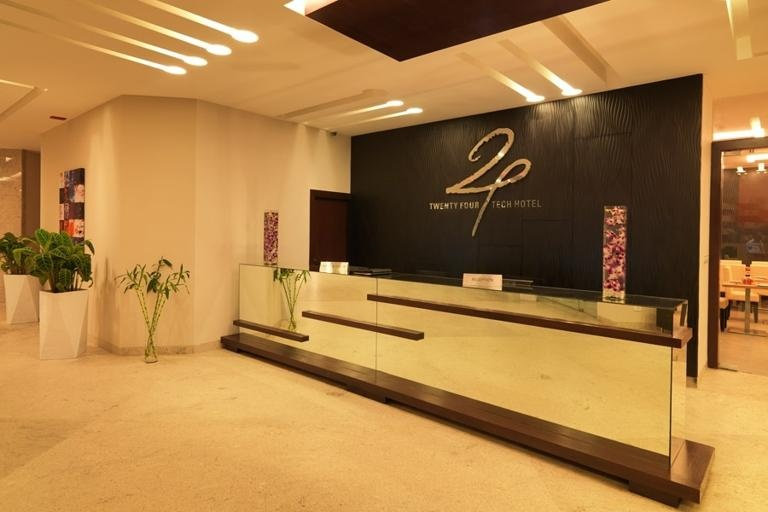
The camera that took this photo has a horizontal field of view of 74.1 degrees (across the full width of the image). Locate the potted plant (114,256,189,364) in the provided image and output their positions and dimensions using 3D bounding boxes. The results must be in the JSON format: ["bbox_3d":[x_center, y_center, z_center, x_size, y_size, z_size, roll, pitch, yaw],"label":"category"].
[{"bbox_3d":[-3.541,0.735,7.684,1.059,1.559,0.472,2,1,6],"label":"potted plant"}]

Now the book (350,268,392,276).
[{"bbox_3d":[-0.171,0.163,6.820,0.546,0.057,0.740,1,2,-7],"label":"book"}]
